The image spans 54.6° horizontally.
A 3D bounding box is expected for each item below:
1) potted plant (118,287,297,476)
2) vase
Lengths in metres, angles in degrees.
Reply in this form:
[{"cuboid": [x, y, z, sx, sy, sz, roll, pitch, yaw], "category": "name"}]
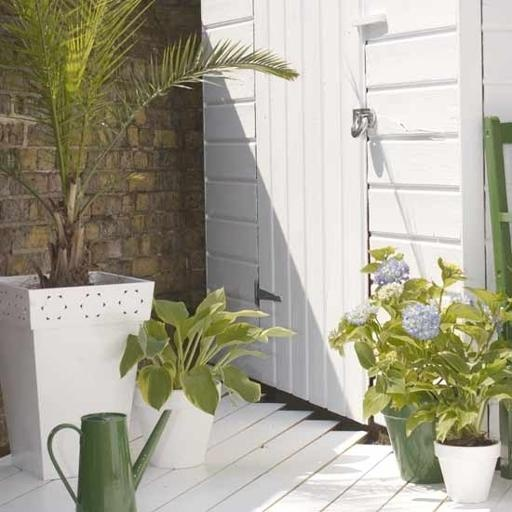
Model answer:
[{"cuboid": [-0.229, 0.419, 1.687, 0.384, 0.418, 0.492, 16, 1, -20], "category": "potted plant"}, {"cuboid": [0.498, 0.556, 1.545, 0.165, 0.191, 0.173, -13, 13, -33], "category": "vase"}]
